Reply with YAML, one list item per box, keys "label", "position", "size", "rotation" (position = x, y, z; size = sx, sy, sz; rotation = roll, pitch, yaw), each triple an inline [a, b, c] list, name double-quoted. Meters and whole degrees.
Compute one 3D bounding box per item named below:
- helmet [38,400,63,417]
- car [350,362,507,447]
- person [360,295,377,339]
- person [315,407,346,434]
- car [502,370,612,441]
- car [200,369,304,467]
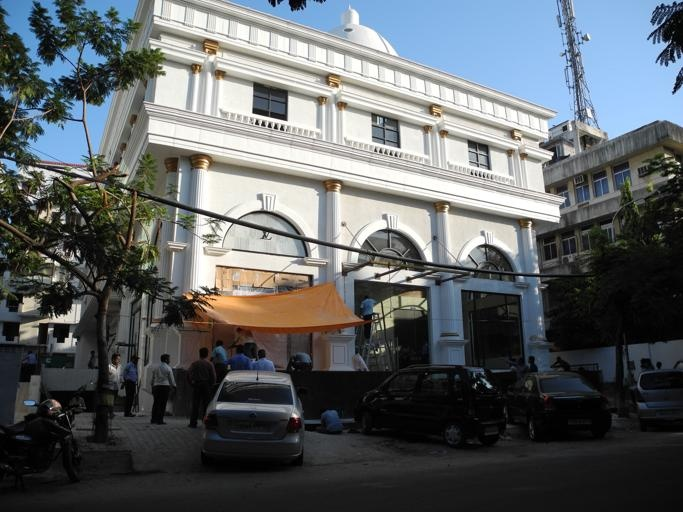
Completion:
- label: "helmet"
  position: [-5.413, 2.792, 10.793]
  size: [0.299, 0.317, 0.346]
  rotation: [11, 13, 34]
- label: "car"
  position: [2.518, 3.837, 15.613]
  size: [3.288, 1.624, 1.867]
  rotation: [-5, -16, 43]
- label: "person"
  position: [1.108, 2.552, 23.766]
  size: [0.626, 1.860, 1.330]
  rotation: [-2, -3, 2]
- label: "person"
  position: [-0.304, 4.756, 16.604]
  size: [0.547, 0.578, 0.735]
  rotation: [1, -4, -36]
- label: "car"
  position: [5.795, 3.971, 15.539]
  size: [1.362, 1.061, 3.115]
  rotation: [-1, -10, -1]
- label: "car"
  position: [-1.784, 3.481, 11.862]
  size: [1.980, 1.766, 1.292]
  rotation: [-1, -3, -13]
